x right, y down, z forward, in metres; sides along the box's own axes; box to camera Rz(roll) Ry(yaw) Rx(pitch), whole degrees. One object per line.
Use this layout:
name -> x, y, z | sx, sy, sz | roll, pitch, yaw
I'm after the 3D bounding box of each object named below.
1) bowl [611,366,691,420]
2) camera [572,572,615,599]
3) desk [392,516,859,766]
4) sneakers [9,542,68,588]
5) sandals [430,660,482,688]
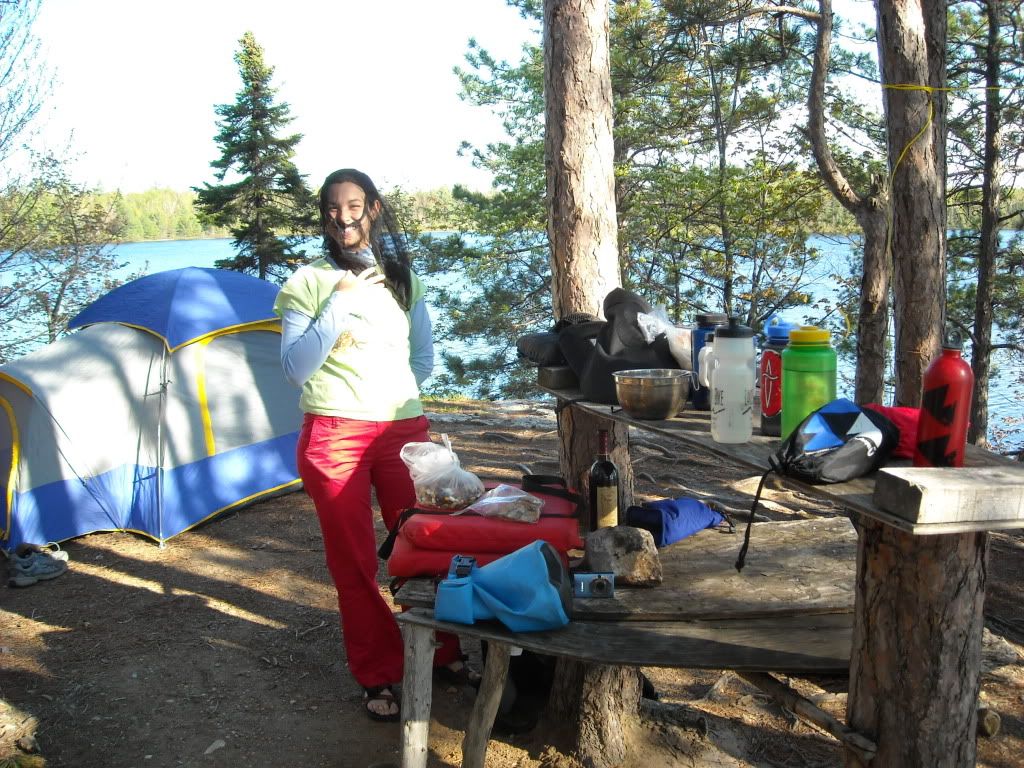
bowl -> 0.663, 0.060, 4.329 | 0.374, 0.199, 0.356 | -3, 1, 0
camera -> 0.389, 0.950, 4.345 | 0.143, 0.082, 0.136 | 0, -2, 3
desk -> 0.903, 1.304, 4.383 | 2.576, 0.812, 1.193 | -5, 7, -20
sneakers -> -3.766, 1.433, 7.217 | 0.538, 0.214, 0.226 | -9, 28, -36
sandals -> -0.338, 1.792, 5.605 | 0.207, 0.061, 0.195 | 2, 4, -39
